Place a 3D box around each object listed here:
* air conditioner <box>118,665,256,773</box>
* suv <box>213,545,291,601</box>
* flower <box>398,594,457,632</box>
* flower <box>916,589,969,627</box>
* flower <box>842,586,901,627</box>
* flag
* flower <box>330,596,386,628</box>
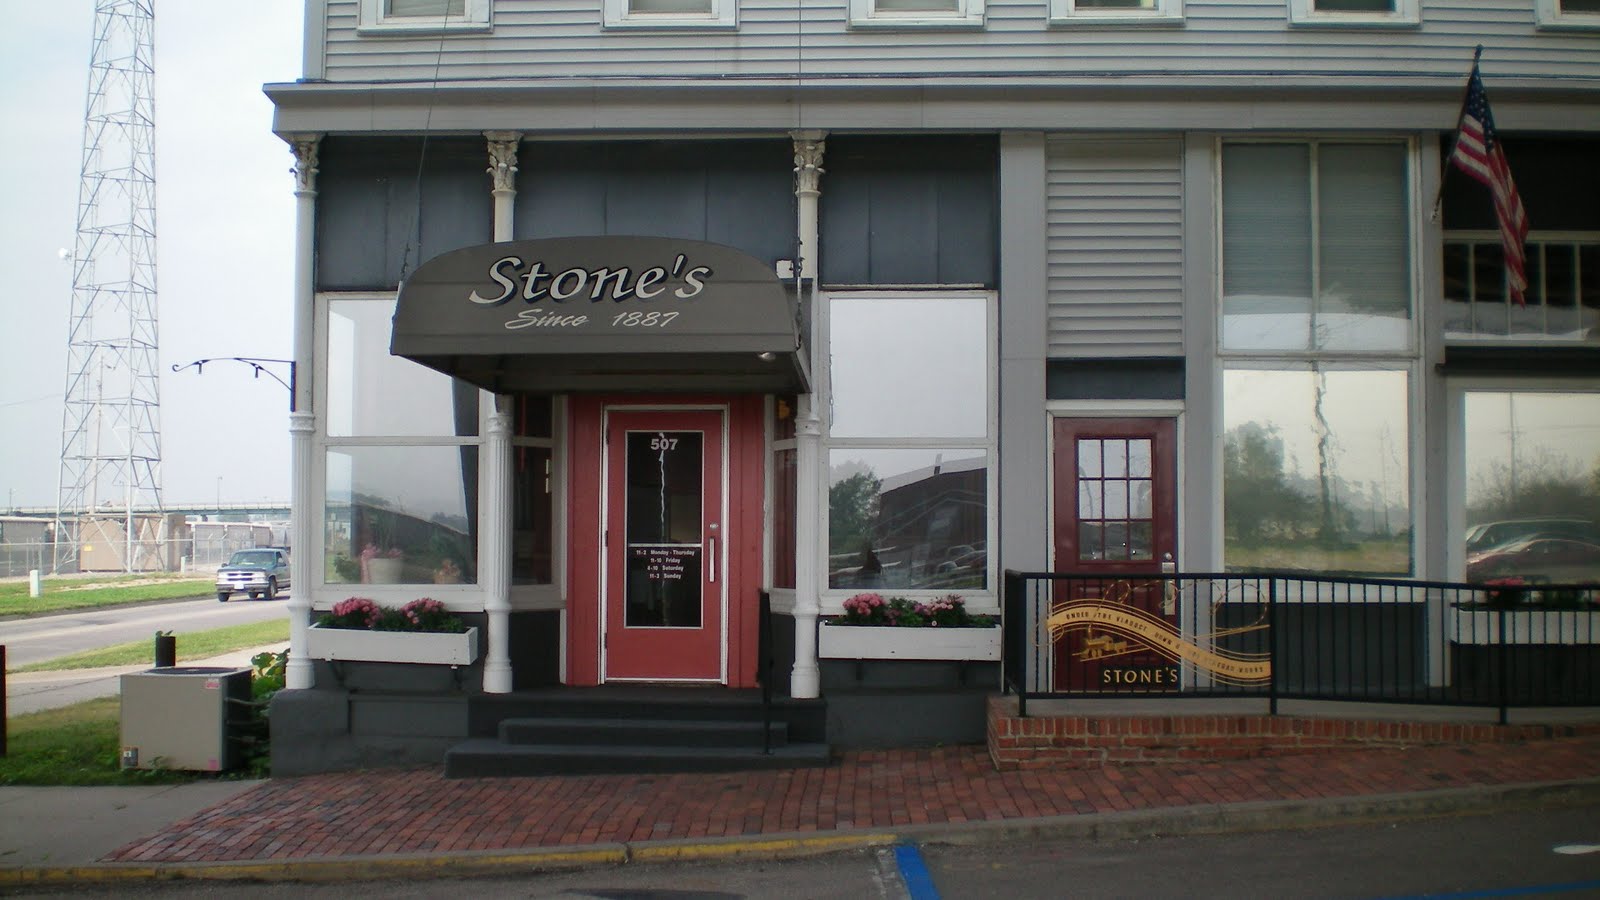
[{"bbox_3d":[-8.796,3.914,25.822,1.674,1.576,1.395,0,-3,3],"label":"air conditioner"},{"bbox_3d":[-15.447,3.621,50.580,1.204,1.709,2.632,-7,-13,29],"label":"suv"},{"bbox_3d":[-5.312,2.382,25.557,0.581,0.354,0.559,7,-6,-25],"label":"flower"},{"bbox_3d":[2.087,2.304,25.328,0.506,0.290,0.487,-3,1,17],"label":"flower"},{"bbox_3d":[1.027,2.286,25.216,0.539,0.328,0.500,1,-4,-2],"label":"flower"},{"bbox_3d":[9.831,-3.745,25.132,0.950,3.433,1.159,2,-1,-4],"label":"flag"},{"bbox_3d":[-6.385,2.401,25.604,0.538,0.395,0.491,12,-15,-36],"label":"flower"}]
